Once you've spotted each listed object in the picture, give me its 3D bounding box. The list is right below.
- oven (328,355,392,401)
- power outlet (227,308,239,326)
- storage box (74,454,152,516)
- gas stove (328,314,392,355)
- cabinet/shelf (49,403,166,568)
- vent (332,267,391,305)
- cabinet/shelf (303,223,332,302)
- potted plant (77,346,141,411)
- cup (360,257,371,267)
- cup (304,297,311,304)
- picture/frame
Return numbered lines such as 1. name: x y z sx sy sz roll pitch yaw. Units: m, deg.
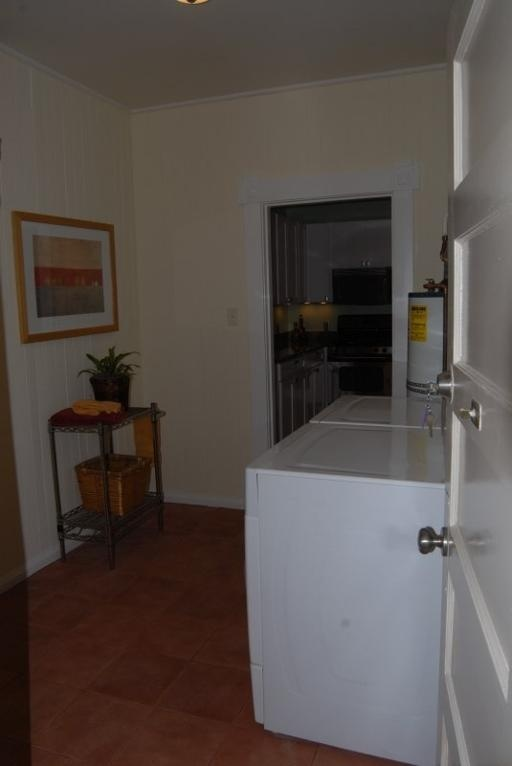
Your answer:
1. oven: 1.129 -0.069 5.641 0.574 0.466 0.369 0 2 20
2. power outlet: -0.165 -0.438 3.435 0.076 0.144 0.028 1 2 27
3. storage box: -0.837 0.570 3.086 0.311 0.324 0.443 3 8 9
4. gas stove: 1.210 -0.581 5.915 0.658 0.763 0.397 2 10 15
5. cabinet/shelf: -0.856 0.546 3.053 0.356 0.845 0.607 -1 4 20
6. vent: 1.149 -1.067 5.732 0.622 0.389 0.129 -1 5 5
7. cabinet/shelf: 0.681 -1.329 5.742 0.274 0.800 0.121 0 5 13
8. potted plant: -0.872 -0.001 3.042 0.278 0.372 0.343 -6 -10 4
9. cup: 1.178 -1.306 5.644 0.112 0.131 0.065 10 12 38
10. cup: 0.549 -0.902 5.781 0.072 0.084 0.081 8 20 16
11. picture/frame: -1.097 -0.592 2.898 0.026 0.668 0.677 5 14 22
